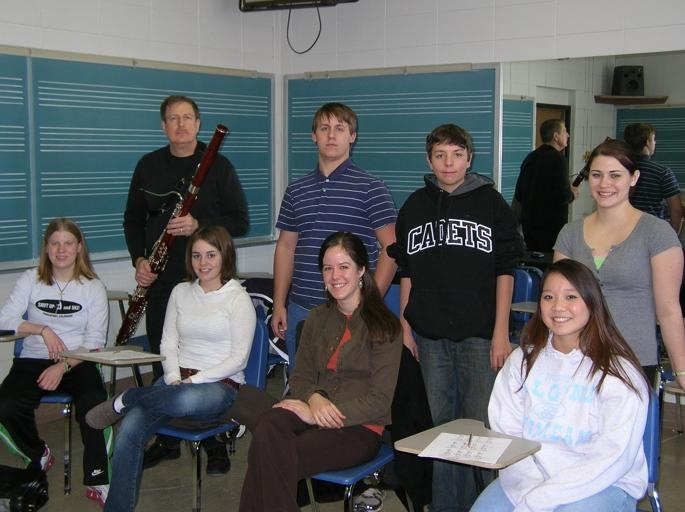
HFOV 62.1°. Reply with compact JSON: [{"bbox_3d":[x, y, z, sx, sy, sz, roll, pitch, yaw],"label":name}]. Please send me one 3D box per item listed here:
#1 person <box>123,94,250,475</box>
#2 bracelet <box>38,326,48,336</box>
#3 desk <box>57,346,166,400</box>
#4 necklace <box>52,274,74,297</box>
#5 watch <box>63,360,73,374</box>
[{"bbox_3d":[-0.997,0.104,3.472,0.759,2.062,0.670,8,21,0],"label":"person"},{"bbox_3d":[-1.605,0.403,3.047,0.044,0.011,0.040,-7,52,10],"label":"bracelet"},{"bbox_3d":[-1.048,0.601,2.616,0.276,0.251,0.498,7,-5,-40],"label":"desk"},{"bbox_3d":[-1.579,0.170,3.201,0.128,0.153,0.006,1,-3,-16],"label":"necklace"},{"bbox_3d":[-1.466,0.595,3.035,0.049,0.071,0.066,-2,6,-45],"label":"watch"}]
